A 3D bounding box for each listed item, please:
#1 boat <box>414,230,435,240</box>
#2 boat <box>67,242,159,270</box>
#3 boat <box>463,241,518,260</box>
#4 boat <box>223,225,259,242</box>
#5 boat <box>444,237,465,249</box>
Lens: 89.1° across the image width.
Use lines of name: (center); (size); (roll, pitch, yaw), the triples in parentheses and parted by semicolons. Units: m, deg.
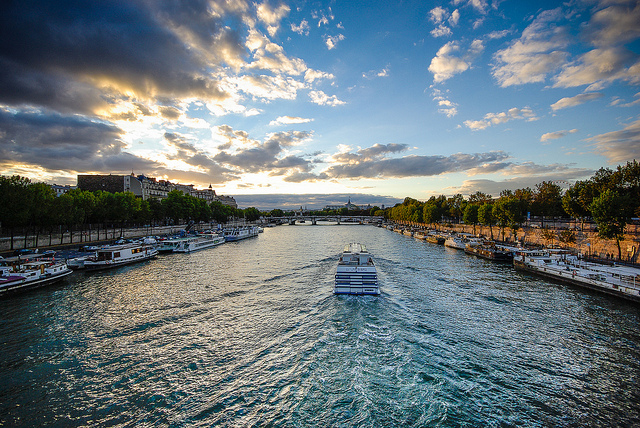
boat: (36.043, 7.597, 112.568); (2.714, 2.552, 9.772); (1, 2, -1)
boat: (-37.508, 8.271, 61.412); (4.456, 3.516, 15.747); (-3, 2, 21)
boat: (36.746, 8.261, 69.473); (5.096, 3.456, 11.131); (-1, -2, 5)
boat: (-29.038, 7.580, 120.920); (4.616, 3.212, 18.961); (1, 2, 11)
boat: (35.213, 7.963, 84.792); (2.558, 2.376, 7.866); (0, 3, 3)
